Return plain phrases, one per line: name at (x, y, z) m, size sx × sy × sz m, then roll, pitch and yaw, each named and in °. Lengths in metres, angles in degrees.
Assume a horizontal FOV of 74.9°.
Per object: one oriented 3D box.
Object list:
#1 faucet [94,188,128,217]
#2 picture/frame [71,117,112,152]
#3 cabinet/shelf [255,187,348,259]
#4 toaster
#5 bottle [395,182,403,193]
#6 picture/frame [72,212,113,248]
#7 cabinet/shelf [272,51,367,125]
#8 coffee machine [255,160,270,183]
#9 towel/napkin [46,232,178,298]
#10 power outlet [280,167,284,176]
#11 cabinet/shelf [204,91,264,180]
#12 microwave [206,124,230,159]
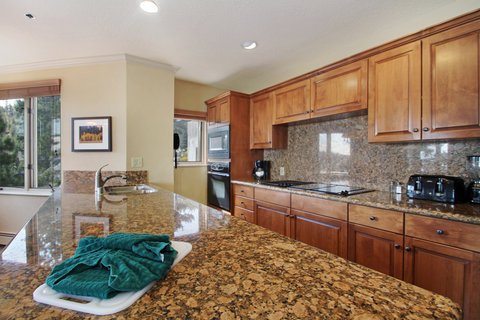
faucet at (-1.232, 0.357, 3.004) m, size 0.299 × 0.181 × 0.843 m, roll -2°, pitch 0°, yaw -25°
picture/frame at (-1.916, -0.334, 4.081) m, size 0.467 × 0.390 × 0.020 m, roll 1°, pitch -3°, yaw 5°
cabinet/shelf at (0.762, 0.784, 3.775) m, size 0.383 × 0.797 × 1.430 m, roll -5°, pitch 8°, yaw -40°
toaster at (1.839, 0.270, 2.953) m, size 0.456 × 0.254 × 0.102 m, roll -1°, pitch 1°, yaw 27°
bottle at (1.692, 0.288, 3.308) m, size 0.092 × 0.116 × 0.043 m, roll -2°, pitch 1°, yaw -31°
picture/frame at (-1.128, 0.515, 2.365) m, size 0.271 × 0.298 × 0.010 m, roll 3°, pitch 28°, yaw -17°
cabinet/shelf at (0.954, -0.729, 3.838) m, size 0.286 × 0.540 × 1.507 m, roll 6°, pitch -6°, yaw -34°
coffee machine at (0.332, 0.138, 4.420) m, size 0.328 × 0.317 × 0.179 m, roll 1°, pitch -1°, yaw -28°
towel/napkin at (-0.775, 0.645, 1.895) m, size 0.469 × 0.137 × 0.432 m, roll 1°, pitch 1°, yaw 14°
power outlet at (0.615, 0.164, 4.508) m, size 0.009 × 0.128 × 0.086 m, roll -2°, pitch 1°, yaw -39°
cabinet/shelf at (-0.175, -0.365, 4.797) m, size 0.403 × 1.048 × 0.626 m, roll -3°, pitch 6°, yaw -37°
microwave at (-0.417, -0.273, 4.763) m, size 0.207 × 0.521 × 0.595 m, roll 4°, pitch 8°, yaw 30°
